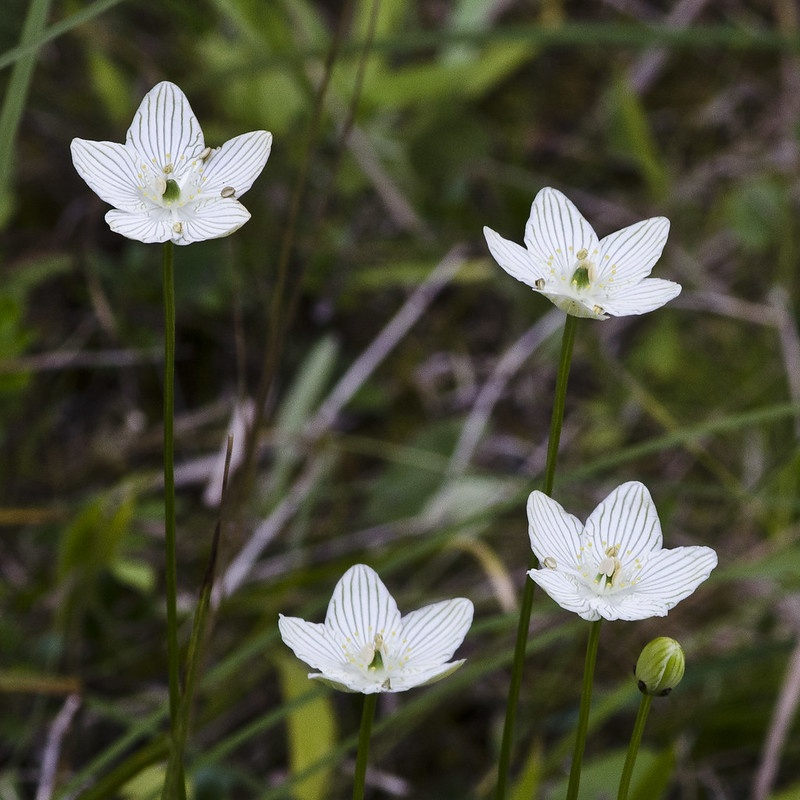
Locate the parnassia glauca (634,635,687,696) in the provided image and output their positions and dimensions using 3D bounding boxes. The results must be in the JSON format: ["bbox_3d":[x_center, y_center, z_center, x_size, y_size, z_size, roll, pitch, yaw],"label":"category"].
[{"bbox_3d":[0.355,0.371,1.329,0.061,0.057,0.104,2,-58,-11],"label":"parnassia glauca"}]

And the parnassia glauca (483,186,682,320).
[{"bbox_3d":[0.291,-0.209,1.522,0.242,0.258,0.116,-16,-35,-34],"label":"parnassia glauca"}]

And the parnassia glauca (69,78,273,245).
[{"bbox_3d":[-0.346,-0.310,1.510,0.263,0.306,0.117,16,-22,-3],"label":"parnassia glauca"}]

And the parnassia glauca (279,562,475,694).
[{"bbox_3d":[-0.035,0.343,1.369,0.192,0.219,0.086,25,-49,25],"label":"parnassia glauca"}]

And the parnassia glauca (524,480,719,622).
[{"bbox_3d":[0.310,0.255,1.405,0.258,0.240,0.166,4,-65,17],"label":"parnassia glauca"}]
